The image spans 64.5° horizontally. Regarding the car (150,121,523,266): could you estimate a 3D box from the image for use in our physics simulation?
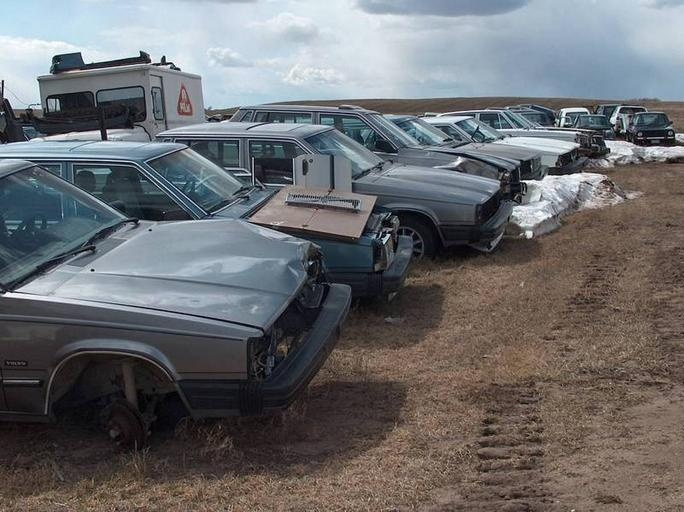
[{"bbox_3d":[-0.374,-1.010,7.901,5.414,1.090,2.020,6,23,7],"label":"car"}]
